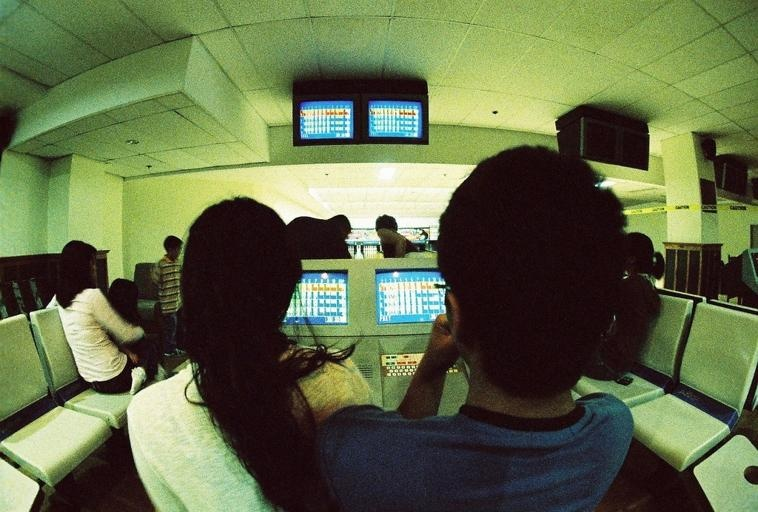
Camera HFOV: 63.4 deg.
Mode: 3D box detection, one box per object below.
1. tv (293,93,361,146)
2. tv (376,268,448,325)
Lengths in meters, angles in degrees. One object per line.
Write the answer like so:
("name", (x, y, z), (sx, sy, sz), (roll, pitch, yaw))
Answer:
("tv", (-0.615, -1.618, 7.344), (1.049, 0.680, 0.528), (0, 0, 1))
("tv", (0.302, 0.411, 6.001), (0.626, 0.417, 0.081), (-1, -3, -3))
